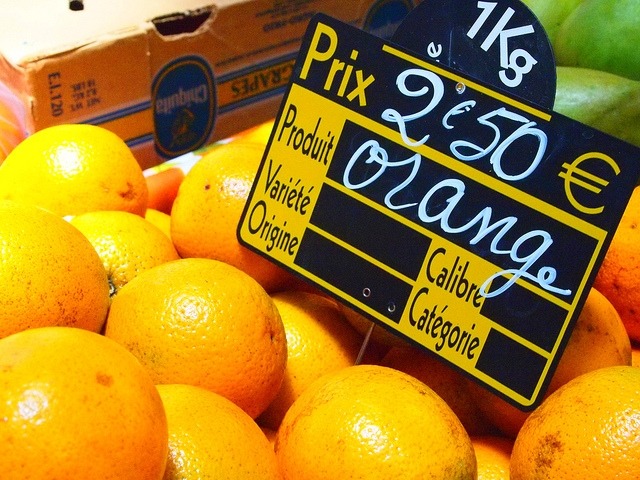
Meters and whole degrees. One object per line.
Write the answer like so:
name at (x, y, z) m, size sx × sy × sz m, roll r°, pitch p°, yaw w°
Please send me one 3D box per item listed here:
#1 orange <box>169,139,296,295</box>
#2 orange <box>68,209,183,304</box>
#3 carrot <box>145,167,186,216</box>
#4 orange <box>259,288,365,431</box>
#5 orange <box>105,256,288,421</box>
orange at (-0.223, -0.025, 1.517) m, size 0.274 × 0.322 × 0.315 m, roll 32°, pitch 68°, yaw -21°
orange at (-0.404, 0.011, 1.315) m, size 0.203 × 0.204 × 0.190 m, roll -1°, pitch 23°, yaw -3°
carrot at (-0.451, -0.145, 1.773) m, size 0.115 × 0.130 × 0.053 m, roll -15°, pitch 13°, yaw -28°
orange at (-0.037, 0.265, 1.466) m, size 0.218 × 0.252 × 0.315 m, roll -2°, pitch 64°, yaw -9°
orange at (-0.215, 0.106, 1.122) m, size 0.297 × 0.319 × 0.297 m, roll 6°, pitch 16°, yaw -8°
